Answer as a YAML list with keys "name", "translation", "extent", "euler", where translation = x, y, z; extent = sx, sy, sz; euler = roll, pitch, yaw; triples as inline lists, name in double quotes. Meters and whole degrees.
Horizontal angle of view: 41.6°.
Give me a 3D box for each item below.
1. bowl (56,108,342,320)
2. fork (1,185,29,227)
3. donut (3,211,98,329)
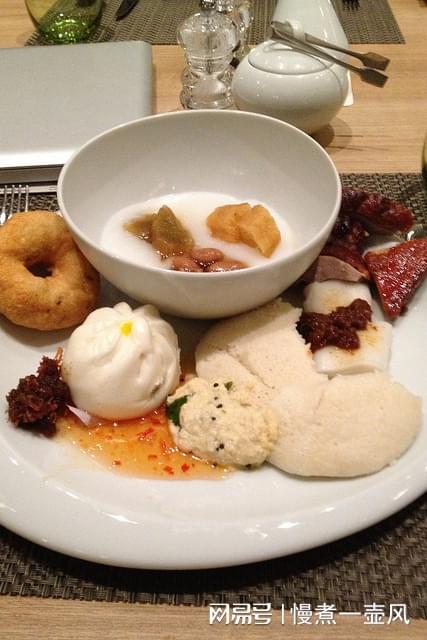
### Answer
- name: "bowl"
  translation: [-0.015, -0.206, 0.918]
  extent: [0.494, 0.190, 0.457]
  euler: [0, 46, 0]
- name: "fork"
  translation: [-0.411, -0.251, 1.152]
  extent: [0.056, 0.011, 0.136]
  euler: [-2, 44, -11]
- name: "donut"
  translation: [-0.274, -0.084, 0.945]
  extent: [0.149, 0.136, 0.172]
  euler: [-9, 46, -11]
